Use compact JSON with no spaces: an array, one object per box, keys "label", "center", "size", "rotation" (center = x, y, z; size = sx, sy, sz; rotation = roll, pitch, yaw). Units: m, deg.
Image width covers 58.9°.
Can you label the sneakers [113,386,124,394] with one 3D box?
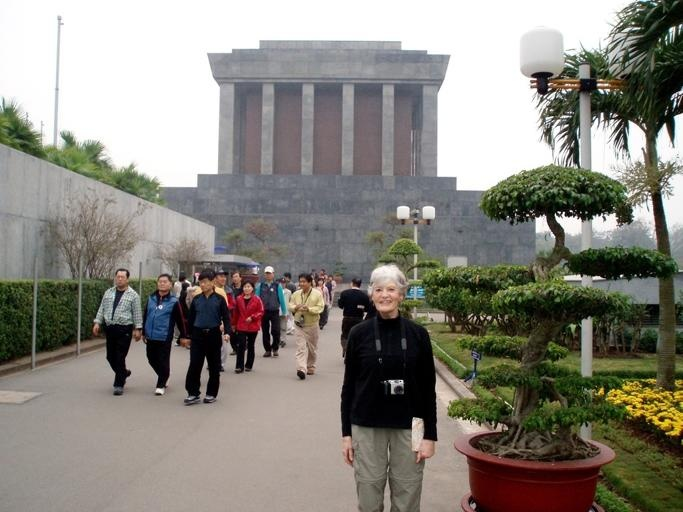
[{"label":"sneakers","center":[-4.243,2.533,11.521],"size":[0.182,0.147,0.366],"rotation":[0,3,-22]}]

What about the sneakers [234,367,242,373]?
[{"label":"sneakers","center":[-2.371,2.626,13.894],"size":[0.204,0.092,0.213],"rotation":[1,2,-4]}]

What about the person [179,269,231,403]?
[{"label":"person","center":[-2.517,1.456,11.191],"size":[0.930,2.386,0.671],"rotation":[0,3,-34]}]

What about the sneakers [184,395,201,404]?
[{"label":"sneakers","center":[-2.675,2.570,10.871],"size":[0.112,0.166,0.350],"rotation":[-4,-14,30]}]

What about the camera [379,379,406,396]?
[{"label":"camera","center":[0.480,1.218,5.620],"size":[0.219,0.154,0.062],"rotation":[2,2,4]}]

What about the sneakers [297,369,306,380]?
[{"label":"sneakers","center":[-0.890,2.624,13.420],"size":[0.168,0.187,0.164],"rotation":[21,41,4]}]

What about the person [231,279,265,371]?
[{"label":"person","center":[-2.215,1.640,14.259],"size":[0.682,2.141,0.686],"rotation":[0,2,-23]}]

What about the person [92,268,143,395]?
[{"label":"person","center":[-4.362,1.437,11.843],"size":[0.905,2.381,1.144],"rotation":[0,2,-22]}]

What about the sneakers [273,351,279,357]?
[{"label":"sneakers","center":[-1.857,2.728,16.939],"size":[0.160,0.189,0.114],"rotation":[-3,-5,26]}]

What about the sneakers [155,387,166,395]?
[{"label":"sneakers","center":[-3.455,2.553,11.532],"size":[0.172,0.141,0.387],"rotation":[1,2,-16]}]

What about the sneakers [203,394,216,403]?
[{"label":"sneakers","center":[-2.384,2.590,11.026],"size":[0.254,0.118,0.290],"rotation":[1,2,-19]}]
